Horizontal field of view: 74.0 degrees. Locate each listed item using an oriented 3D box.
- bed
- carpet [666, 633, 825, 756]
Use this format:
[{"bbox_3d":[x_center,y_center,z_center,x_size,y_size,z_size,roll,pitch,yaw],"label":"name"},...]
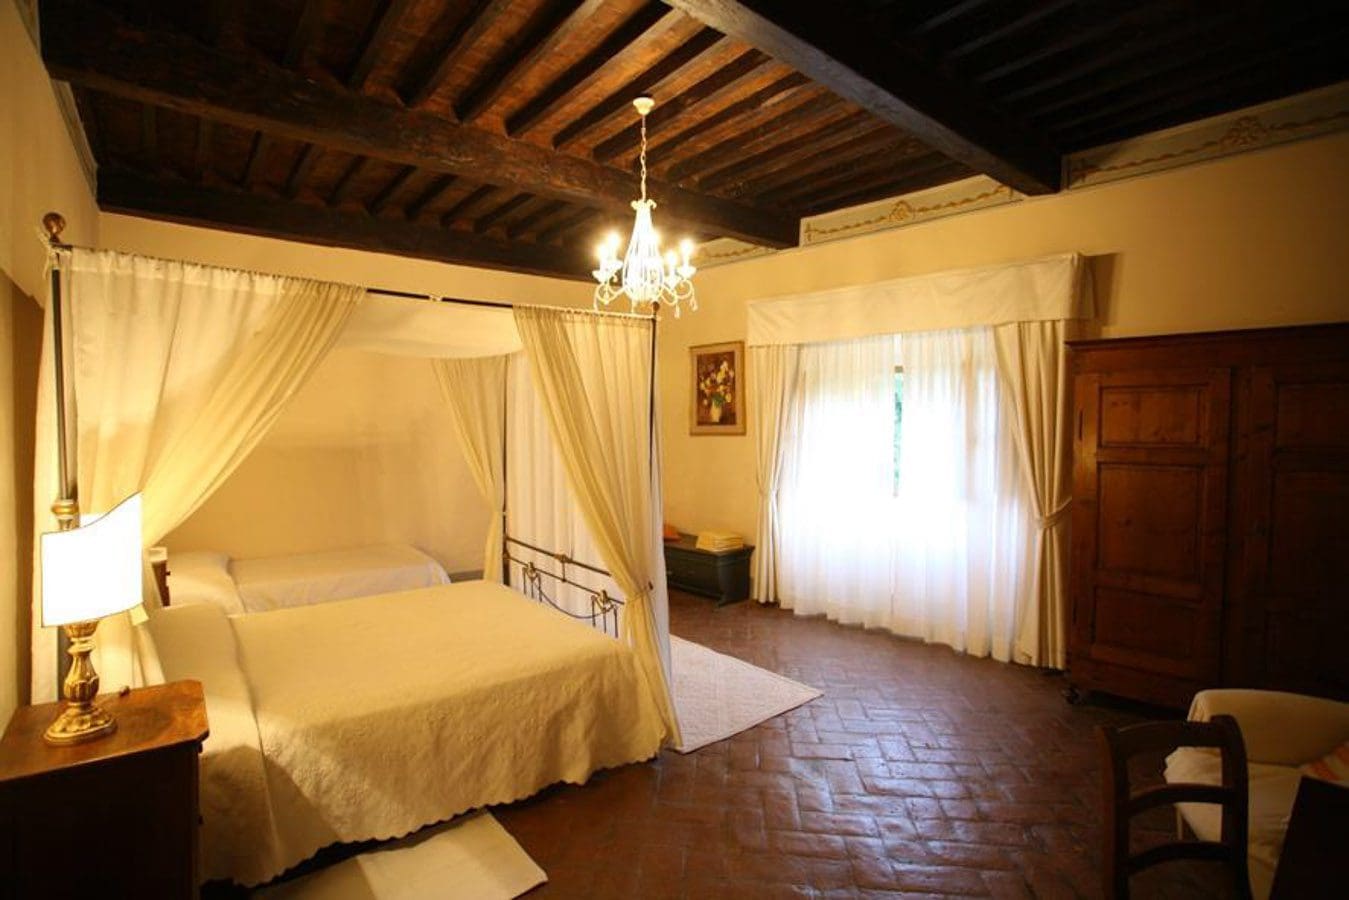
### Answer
[{"bbox_3d":[-1.549,1.469,5.062,1.716,0.551,1.737,-3,8,-33],"label":"bed"},{"bbox_3d":[0.444,1.722,6.350,0.916,0.257,1.407,0,4,-3],"label":"carpet"}]
